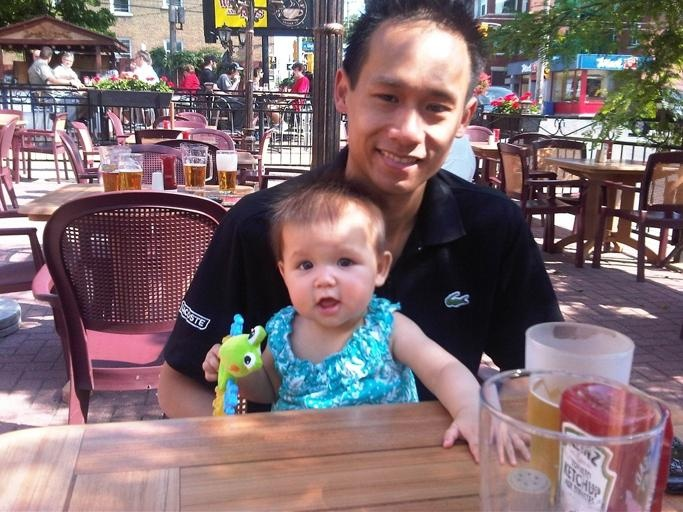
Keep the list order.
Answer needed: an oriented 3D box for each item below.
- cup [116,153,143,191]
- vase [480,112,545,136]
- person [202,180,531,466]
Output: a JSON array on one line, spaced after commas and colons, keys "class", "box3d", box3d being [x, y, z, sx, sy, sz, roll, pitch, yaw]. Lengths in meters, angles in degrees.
[{"class": "cup", "box3d": [-1.458, -0.578, 3.894, 0.142, 0.266, 0.288, -4, 17, -14]}, {"class": "vase", "box3d": [4.313, -3.296, 14.144, 0.728, 0.524, 1.761, -11, 19, -23]}, {"class": "person", "box3d": [0.051, 0.174, 1.534, 0.726, 0.785, 0.376, -1, 2, -1]}]
